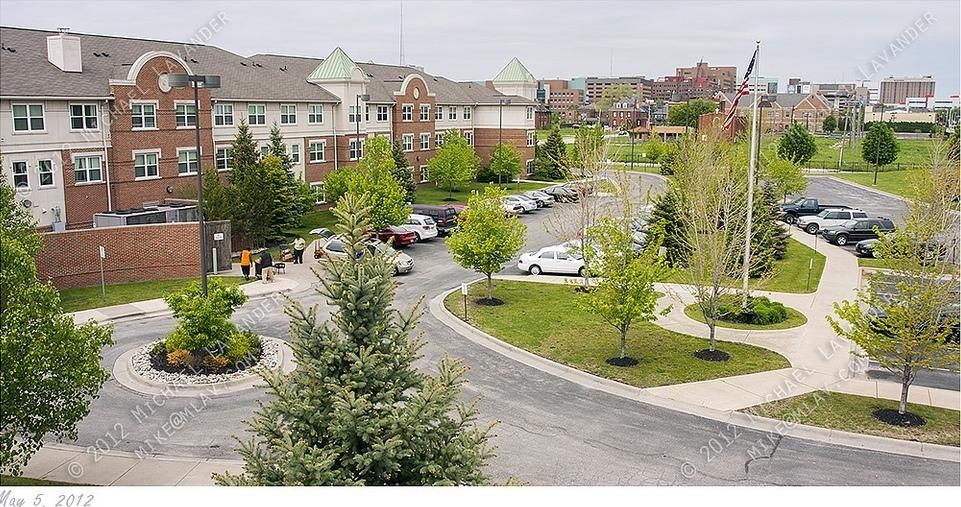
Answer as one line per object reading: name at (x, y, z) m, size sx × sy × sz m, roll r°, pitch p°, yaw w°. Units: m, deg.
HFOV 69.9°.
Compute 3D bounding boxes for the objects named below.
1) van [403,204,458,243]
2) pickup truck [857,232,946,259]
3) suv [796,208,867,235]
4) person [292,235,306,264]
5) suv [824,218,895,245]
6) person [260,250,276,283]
van at (-3.820, -2.899, 58.970) m, size 4.077 × 2.322 × 5.996 m, roll -2°, pitch 12°, yaw -3°
pickup truck at (21.902, -0.371, 35.587) m, size 4.189 × 1.417 × 1.870 m, roll 2°, pitch 3°, yaw 12°
suv at (29.521, -2.498, 57.727) m, size 5.195 × 2.141 × 2.624 m, roll 2°, pitch 7°, yaw 25°
person at (-13.214, -0.218, 49.910) m, size 0.734 × 1.881 × 0.877 m, roll -7°, pitch 14°, yaw -24°
suv at (28.607, -1.614, 51.790) m, size 5.477 × 2.079 × 2.363 m, roll 0°, pitch 4°, yaw 7°
person at (-14.214, 0.879, 45.766) m, size 0.757 × 1.833 × 1.354 m, roll -6°, pitch 14°, yaw -18°
